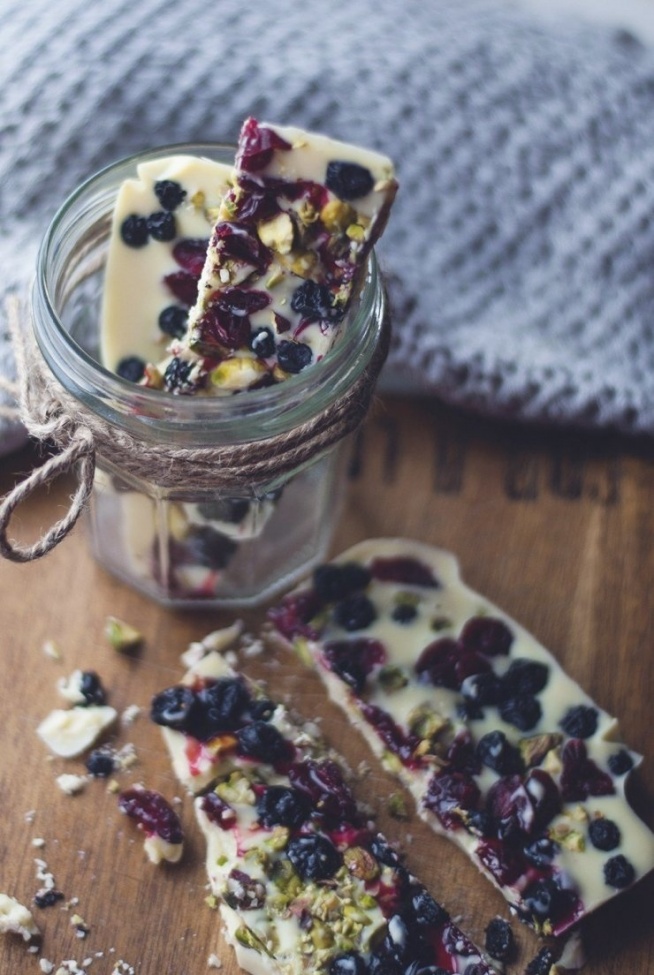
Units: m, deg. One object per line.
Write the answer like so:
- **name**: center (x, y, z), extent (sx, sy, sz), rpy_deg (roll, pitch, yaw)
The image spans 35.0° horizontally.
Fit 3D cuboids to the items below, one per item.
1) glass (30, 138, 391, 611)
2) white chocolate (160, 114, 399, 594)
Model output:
- **glass**: center (-0.119, -0.053, 1.025), extent (0.262, 0.294, 0.249), rpy_deg (-28, 45, -33)
- **white chocolate**: center (-0.051, -0.180, 0.852), extent (0.121, 0.219, 0.168), rpy_deg (36, 59, 26)
